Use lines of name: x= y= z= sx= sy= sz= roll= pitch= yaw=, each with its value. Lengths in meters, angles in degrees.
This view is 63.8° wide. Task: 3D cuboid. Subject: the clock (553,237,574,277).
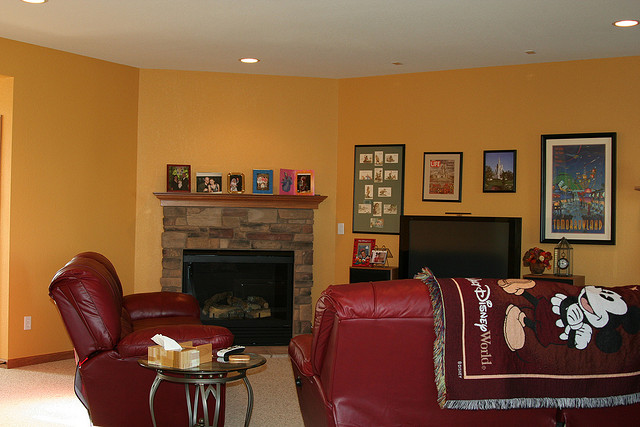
clock: x=2.808 y=0.474 z=5.836 sx=0.248 sy=0.419 sz=0.234 roll=-8 pitch=6 yaw=-9

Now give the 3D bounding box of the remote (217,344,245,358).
remote: x=-0.675 y=1.033 z=3.869 sx=0.176 sy=0.066 sz=0.300 roll=1 pitch=2 yaw=-1

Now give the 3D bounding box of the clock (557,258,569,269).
clock: x=2.701 y=0.556 z=5.724 sx=0.111 sy=0.122 sz=0.045 roll=2 pitch=3 yaw=14

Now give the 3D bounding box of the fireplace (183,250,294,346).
fireplace: x=-0.958 y=1.060 z=6.469 sx=1.474 sy=1.168 sz=0.522 roll=-1 pitch=-2 yaw=14

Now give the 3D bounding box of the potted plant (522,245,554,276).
potted plant: x=2.434 y=0.531 z=5.766 sx=0.320 sy=0.290 sz=0.276 roll=3 pitch=-4 yaw=26

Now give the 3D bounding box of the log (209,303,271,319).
log: x=-1.017 y=1.227 z=6.469 sx=0.766 sy=0.175 sz=0.089 roll=1 pitch=3 yaw=-8
